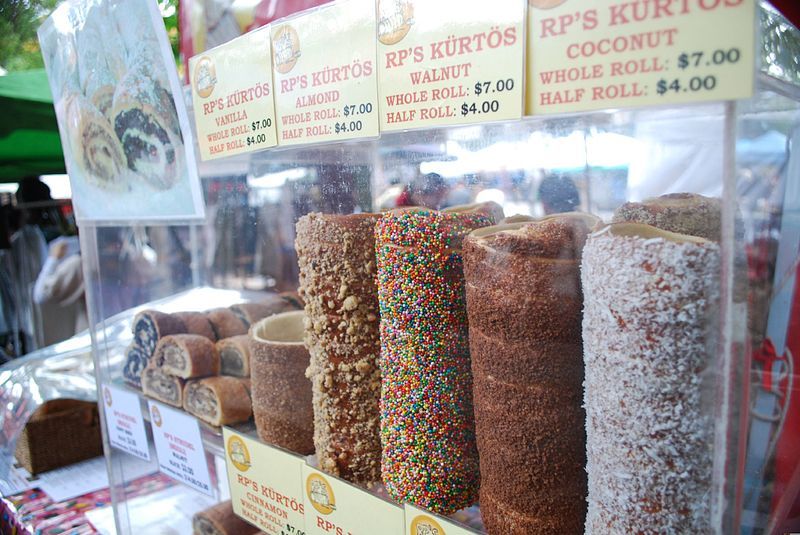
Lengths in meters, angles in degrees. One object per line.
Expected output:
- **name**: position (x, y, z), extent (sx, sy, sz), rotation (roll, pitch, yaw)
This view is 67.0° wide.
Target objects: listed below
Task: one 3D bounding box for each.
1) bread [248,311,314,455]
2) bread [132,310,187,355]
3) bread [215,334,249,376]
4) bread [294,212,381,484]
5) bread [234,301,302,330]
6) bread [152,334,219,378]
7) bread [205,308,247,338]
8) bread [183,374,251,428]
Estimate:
- **bread**: position (-0.212, 0.210, 1.160), extent (0.182, 0.233, 0.220), rotation (-3, 8, -10)
- **bread**: position (-0.544, 0.139, 1.328), extent (0.124, 0.096, 0.045), rotation (-17, -10, 38)
- **bread**: position (-0.348, 0.180, 1.271), extent (0.069, 0.078, 0.099), rotation (-1, 5, -3)
- **bread**: position (-0.103, 0.139, 1.035), extent (0.142, 0.459, 0.086), rotation (-1, 10, 2)
- **bread**: position (-0.284, 0.088, 1.272), extent (0.078, 0.031, 0.076), rotation (-1, 16, 23)
- **bread**: position (-0.459, 0.179, 1.281), extent (0.111, 0.083, 0.095), rotation (1, 0, 33)
- **bread**: position (-0.369, 0.121, 1.295), extent (0.049, 0.049, 0.028), rotation (10, 31, 42)
- **bread**: position (-0.378, 0.272, 1.246), extent (0.119, 0.088, 0.096), rotation (0, -3, 34)
